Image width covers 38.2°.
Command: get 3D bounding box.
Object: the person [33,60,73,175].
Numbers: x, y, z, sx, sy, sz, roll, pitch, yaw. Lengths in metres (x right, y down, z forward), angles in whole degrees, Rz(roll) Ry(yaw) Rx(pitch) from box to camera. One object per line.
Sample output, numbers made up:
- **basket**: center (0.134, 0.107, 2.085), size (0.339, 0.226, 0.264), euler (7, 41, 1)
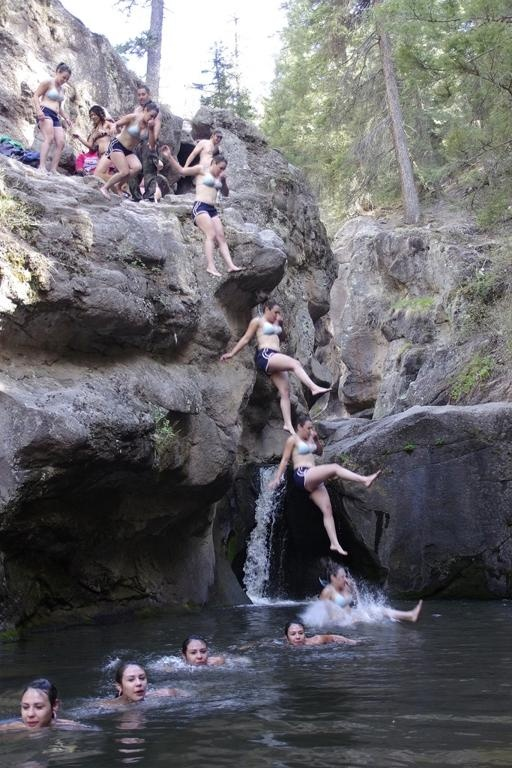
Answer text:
- **person**: center (-2.489, -3.321, 9.079), size (0.406, 1.837, 0.883), euler (-2, -13, -14)
